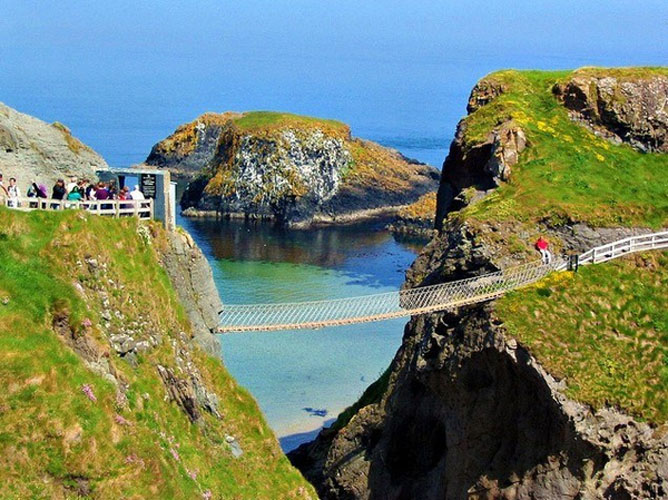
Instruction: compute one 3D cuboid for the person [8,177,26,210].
[{"bbox_3d":[-15.321,-2.657,50.271,0.653,1.330,1.579,0,12,-18],"label":"person"}]
